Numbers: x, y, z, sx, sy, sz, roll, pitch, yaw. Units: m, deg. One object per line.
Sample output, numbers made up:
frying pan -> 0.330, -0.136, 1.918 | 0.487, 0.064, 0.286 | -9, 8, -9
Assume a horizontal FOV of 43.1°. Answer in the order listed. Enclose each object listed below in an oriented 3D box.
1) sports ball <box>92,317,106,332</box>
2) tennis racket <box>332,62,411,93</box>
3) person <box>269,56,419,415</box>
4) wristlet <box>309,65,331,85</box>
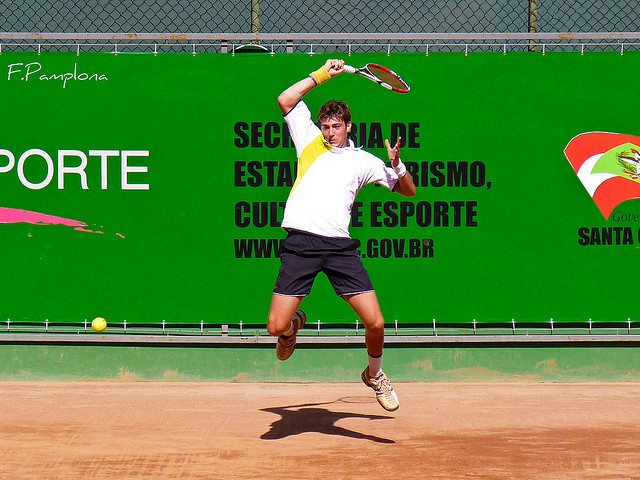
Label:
sports ball -> -2.013, 0.768, 7.409 | 0.108, 0.108, 0.111 | 9, 25, -4
tennis racket -> 0.443, -1.363, 6.737 | 0.670, 0.050, 0.293 | 21, 10, -13
person -> 0.112, -0.019, 6.048 | 1.015, 2.642, 0.505 | -2, 8, 1
wristlet -> 0.011, -1.245, 6.104 | 0.131, 0.134, 0.049 | -30, -4, -2
